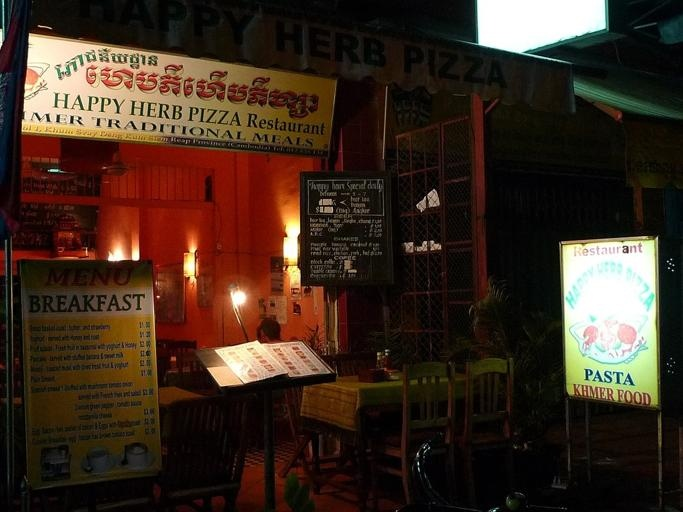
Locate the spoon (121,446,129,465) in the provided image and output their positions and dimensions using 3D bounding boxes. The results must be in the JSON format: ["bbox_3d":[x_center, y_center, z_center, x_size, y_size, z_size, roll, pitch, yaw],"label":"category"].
[{"bbox_3d":[-1.448,1.337,4.644,0.028,0.131,0.020,5,-20,-7],"label":"spoon"}]

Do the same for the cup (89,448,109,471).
[{"bbox_3d":[-1.593,1.336,4.592,0.112,0.132,0.132,0,-6,-6],"label":"cup"}]

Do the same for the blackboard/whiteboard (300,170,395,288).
[{"bbox_3d":[0.034,-0.276,7.560,1.124,1.432,0.144,0,-5,-7],"label":"blackboard/whiteboard"}]

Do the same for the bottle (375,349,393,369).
[{"bbox_3d":[0.404,0.992,6.749,0.161,0.327,0.169,-1,-2,0],"label":"bottle"}]

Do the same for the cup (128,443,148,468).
[{"bbox_3d":[-1.369,1.332,4.665,0.117,0.121,0.157,1,-2,-11],"label":"cup"}]
